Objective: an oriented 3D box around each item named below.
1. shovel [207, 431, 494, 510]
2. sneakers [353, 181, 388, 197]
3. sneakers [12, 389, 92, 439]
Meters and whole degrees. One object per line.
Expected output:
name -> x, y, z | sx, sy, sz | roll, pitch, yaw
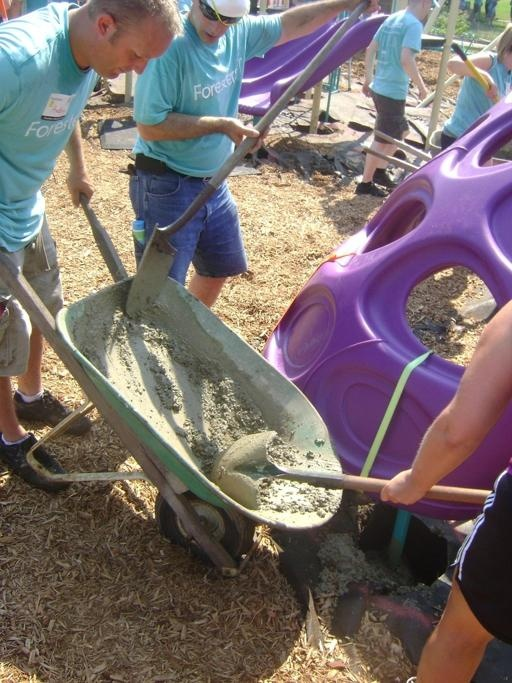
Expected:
shovel -> 0.254, 0.388, 1.822 | 0.802, 0.109, 0.295 | 4, 23, 15
sneakers -> 1.145, -1.529, 6.276 | 0.376, 0.140, 0.119 | 5, 46, -11
sneakers -> -0.863, 0.307, 2.594 | 0.372, 0.144, 0.121 | 18, 37, -18
